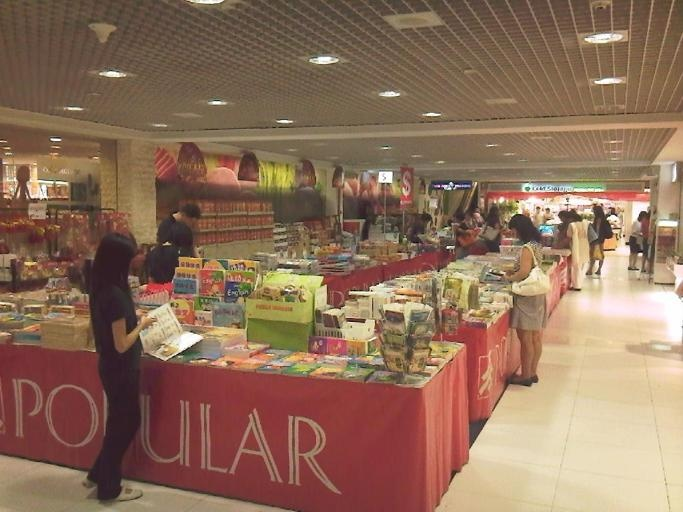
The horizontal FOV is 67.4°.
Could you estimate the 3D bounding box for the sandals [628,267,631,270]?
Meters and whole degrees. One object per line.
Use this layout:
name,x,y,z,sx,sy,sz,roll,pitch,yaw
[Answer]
sandals,9.549,0.409,17.046,0.117,0.080,0.063,0,-7,8

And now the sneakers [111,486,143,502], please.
sneakers,-1.590,1.752,3.813,0.162,0.065,0.084,-2,12,-15

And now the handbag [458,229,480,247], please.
handbag,2.585,-0.355,10.549,0.274,0.090,0.270,-35,2,-17

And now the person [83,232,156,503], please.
person,-1.619,0.814,3.756,0.407,1.949,0.314,-2,6,-22

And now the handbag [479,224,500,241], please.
handbag,3.146,-0.482,10.953,0.395,0.289,0.454,2,7,16
